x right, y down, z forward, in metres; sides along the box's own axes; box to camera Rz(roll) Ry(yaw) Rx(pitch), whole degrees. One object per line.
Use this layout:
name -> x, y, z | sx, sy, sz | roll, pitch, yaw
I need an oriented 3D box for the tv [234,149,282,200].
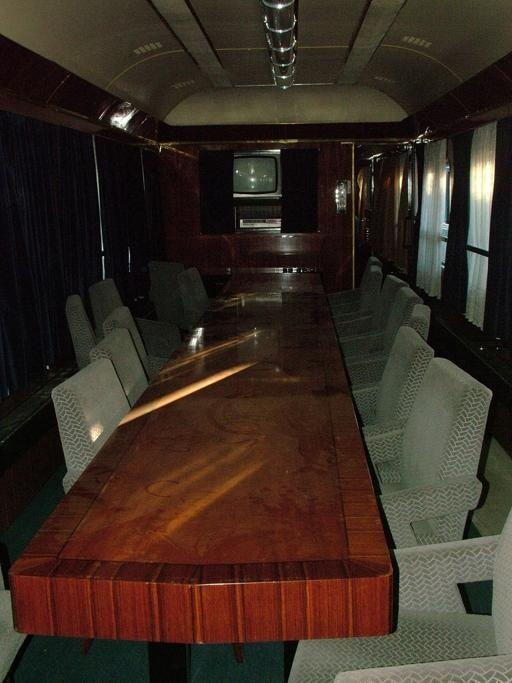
tv -> 0.050, -2.802, 7.598 | 1.070, 0.948, 0.597 | -1, 19, 1
